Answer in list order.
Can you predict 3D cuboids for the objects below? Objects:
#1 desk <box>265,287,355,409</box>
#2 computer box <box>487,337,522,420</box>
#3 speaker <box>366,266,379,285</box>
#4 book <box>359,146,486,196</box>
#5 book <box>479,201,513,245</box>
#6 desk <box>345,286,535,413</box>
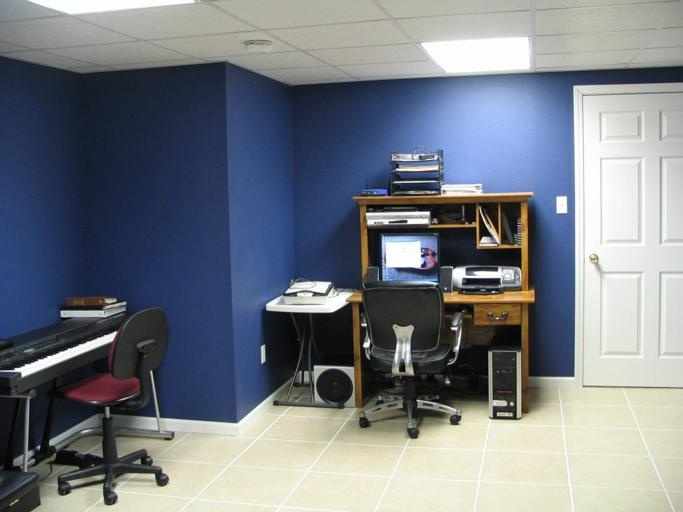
[{"bbox_3d":[-0.284,0.761,5.019,0.854,1.167,0.906,1,-2,9],"label":"desk"},{"bbox_3d":[1.234,0.944,4.295,0.232,0.523,0.186,0,11,13],"label":"computer box"},{"bbox_3d":[0.252,0.158,4.642,0.110,0.202,0.109,-1,-2,14],"label":"speaker"},{"bbox_3d":[0.677,-0.696,4.748,0.971,0.368,0.383,1,11,15],"label":"book"},{"bbox_3d":[1.273,-0.259,4.664,0.074,0.316,0.311,-15,-1,16],"label":"book"},{"bbox_3d":[0.780,0.771,4.641,1.348,0.932,0.704,1,2,4],"label":"desk"}]
